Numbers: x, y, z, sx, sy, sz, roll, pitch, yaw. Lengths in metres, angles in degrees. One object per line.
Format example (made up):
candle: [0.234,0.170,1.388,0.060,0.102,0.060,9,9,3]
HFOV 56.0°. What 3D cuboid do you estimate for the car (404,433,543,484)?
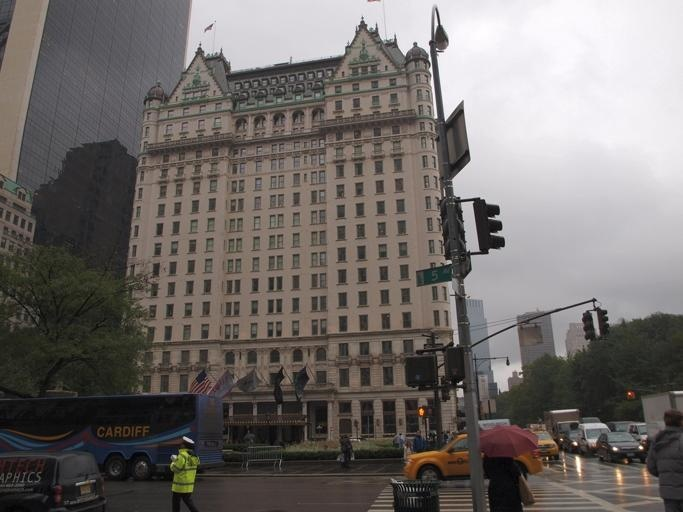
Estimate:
car: [6.555,10.563,33.576,7.056,2.699,2.705,-1,-13,-2]

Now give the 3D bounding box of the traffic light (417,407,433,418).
traffic light: [5.954,11.124,45.833,0.934,0.635,0.887,-1,-10,-8]

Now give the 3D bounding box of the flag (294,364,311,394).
flag: [-4.241,13.556,70.199,1.592,3.427,5.149,-13,-1,-4]

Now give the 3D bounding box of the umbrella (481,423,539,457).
umbrella: [5.874,6.636,22.938,2.174,1.118,1.160,9,-22,-33]

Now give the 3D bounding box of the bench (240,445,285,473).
bench: [-5.779,14.924,46.998,2.577,1.416,0.936,1,-8,0]

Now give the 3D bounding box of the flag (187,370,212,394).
flag: [-11.637,10.347,53.117,1.291,1.967,2.042,4,-19,-20]

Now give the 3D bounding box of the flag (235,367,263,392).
flag: [-10.128,13.706,70.967,3.500,0.992,3.803,-13,-41,-16]
